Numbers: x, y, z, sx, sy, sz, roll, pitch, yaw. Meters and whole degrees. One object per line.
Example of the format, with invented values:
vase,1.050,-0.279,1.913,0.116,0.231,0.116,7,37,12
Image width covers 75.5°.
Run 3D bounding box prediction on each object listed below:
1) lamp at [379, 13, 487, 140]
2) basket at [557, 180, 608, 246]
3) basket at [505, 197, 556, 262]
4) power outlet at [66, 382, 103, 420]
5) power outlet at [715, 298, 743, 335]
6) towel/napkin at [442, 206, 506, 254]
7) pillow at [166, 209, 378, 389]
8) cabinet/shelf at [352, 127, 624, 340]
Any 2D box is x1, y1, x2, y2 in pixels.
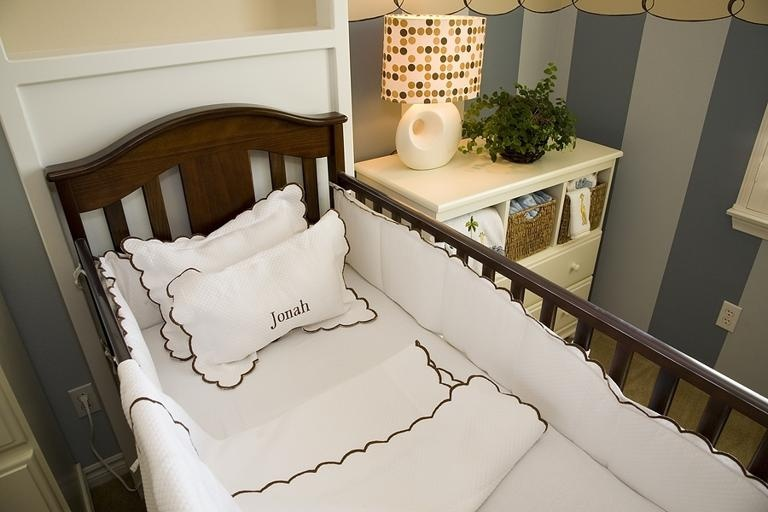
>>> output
lamp,0.200,-0.768,2.369,0.587,0.449,0.349,-11,32,-20
basket,1.011,-0.227,2.555,0.244,0.192,0.141,-18,31,-28
basket,0.705,-0.136,2.417,0.237,0.189,0.140,-19,30,-30
power outlet,-1.222,0.583,2.008,0.115,0.184,0.023,-19,32,-30
power outlet,1.732,0.301,2.484,0.020,0.200,0.109,-17,33,-33
towel/napkin,0.452,-0.131,2.303,0.212,0.240,0.068,-29,24,-14
pillow,-0.452,0.173,1.911,0.834,0.423,0.519,-21,42,-42
cabinet/shelf,0.674,-0.009,2.767,0.992,1.139,0.546,-18,33,-16
